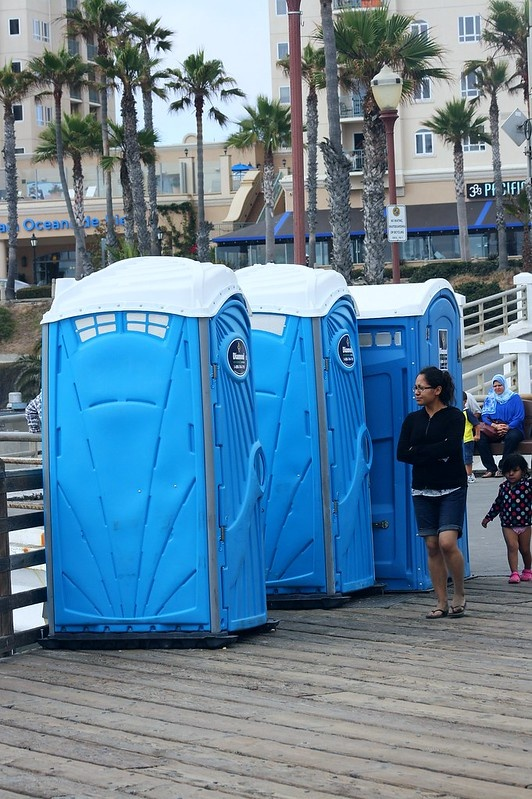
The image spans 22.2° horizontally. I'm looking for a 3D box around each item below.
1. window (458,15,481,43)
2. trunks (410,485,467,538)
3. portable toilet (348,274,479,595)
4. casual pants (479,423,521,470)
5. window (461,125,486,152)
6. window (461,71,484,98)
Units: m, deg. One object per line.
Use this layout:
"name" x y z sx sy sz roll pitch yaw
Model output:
"window" 7.062 -12.972 47.278 0.868 1.089 0.043 1 2 23
"trunks" 1.010 0.621 7.880 0.310 0.350 0.193 2 22 9
"portable toilet" 1.041 -0.043 9.671 0.845 1.492 0.876 -2 -2 -19
"casual pants" 2.608 0.493 15.180 0.465 0.710 0.661 0 -7 16
"window" 7.148 -8.905 46.671 0.444 0.913 0.909 -15 35 9
"window" 7.076 -11.044 47.616 0.633 0.994 0.626 0 1 11
